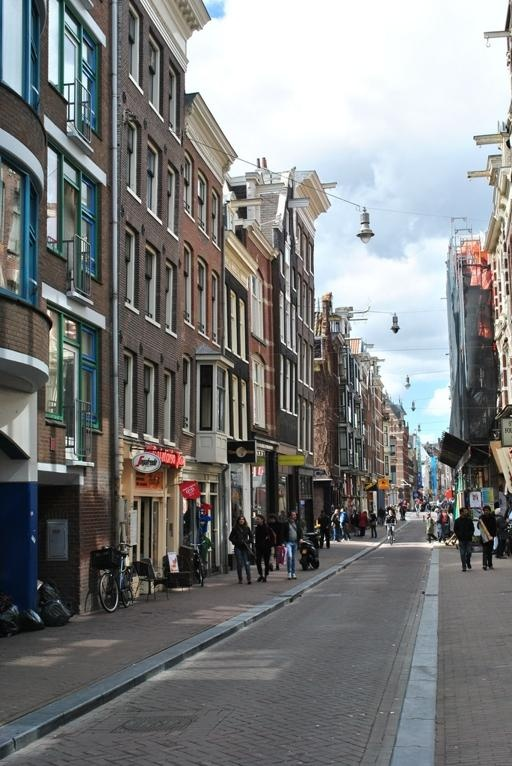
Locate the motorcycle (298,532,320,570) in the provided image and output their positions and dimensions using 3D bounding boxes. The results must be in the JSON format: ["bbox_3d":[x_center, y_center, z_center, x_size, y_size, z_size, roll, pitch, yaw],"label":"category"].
[{"bbox_3d":[1.630,5.365,25.224,0.604,1.002,1.426,-2,-3,16],"label":"motorcycle"}]

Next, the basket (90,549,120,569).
[{"bbox_3d":[-2.816,3.273,14.868,0.374,0.299,0.424,0,-13,-2],"label":"basket"}]

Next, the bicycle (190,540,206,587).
[{"bbox_3d":[-1.472,4.824,20.655,0.505,0.706,1.036,-6,-20,5],"label":"bicycle"}]
